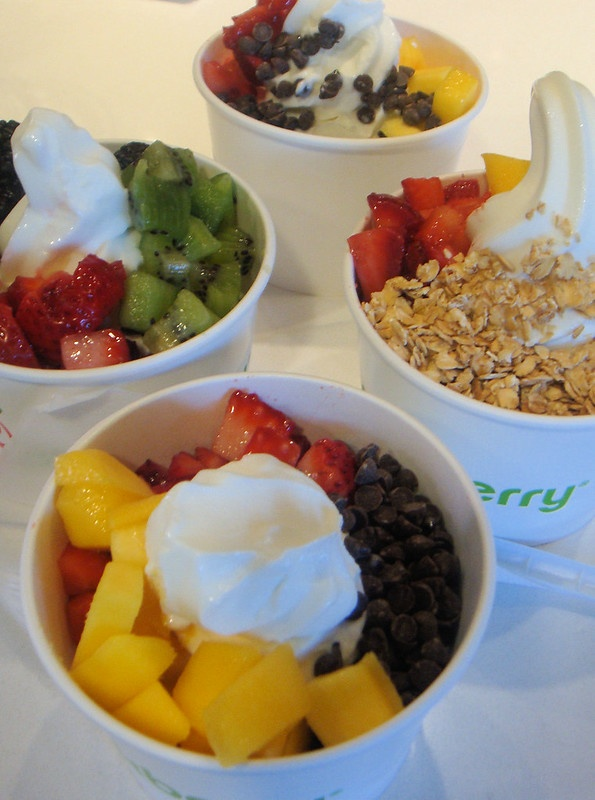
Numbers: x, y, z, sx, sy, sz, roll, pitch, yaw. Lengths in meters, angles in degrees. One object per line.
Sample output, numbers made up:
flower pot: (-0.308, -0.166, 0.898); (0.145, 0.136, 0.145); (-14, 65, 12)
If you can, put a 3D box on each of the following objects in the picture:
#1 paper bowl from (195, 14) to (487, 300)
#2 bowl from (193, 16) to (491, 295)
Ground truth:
paper bowl: (0.065, -0.425, 1.682); (0.664, 0.441, 0.595); (2, 51, -2)
bowl: (0.064, -0.390, 1.584); (0.638, 0.424, 0.571); (2, 51, -2)
